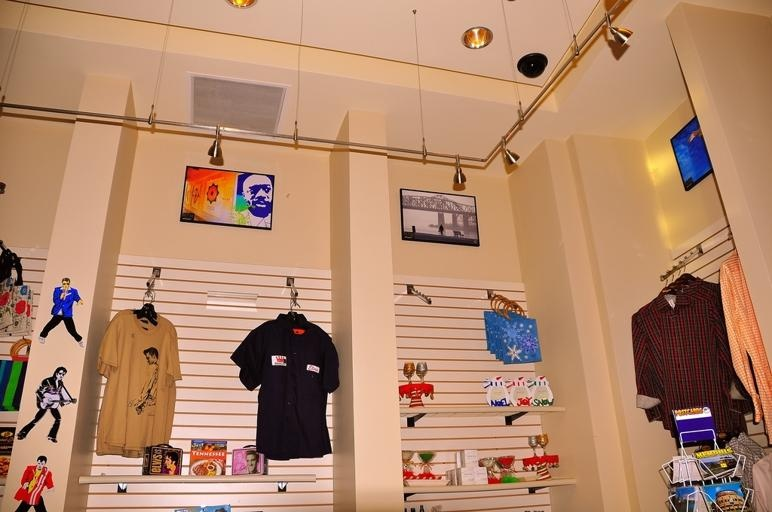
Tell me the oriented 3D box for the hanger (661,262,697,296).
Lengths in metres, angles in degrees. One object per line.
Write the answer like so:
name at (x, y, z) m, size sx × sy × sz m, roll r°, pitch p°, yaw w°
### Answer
hanger at (2.997, 0.264, 5.208) m, size 0.311 × 0.247 × 0.185 m, roll 0°, pitch -24°, yaw -1°

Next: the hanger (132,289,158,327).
hanger at (-2.634, 0.527, 5.551) m, size 0.253 × 0.489 × 0.320 m, roll 11°, pitch -26°, yaw -25°

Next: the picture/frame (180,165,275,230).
picture/frame at (-2.040, -0.717, 6.303) m, size 0.834 × 0.533 × 0.017 m, roll 4°, pitch -18°, yaw -14°

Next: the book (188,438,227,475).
book at (-1.868, 2.071, 5.240) m, size 0.404 × 0.408 × 0.042 m, roll 4°, pitch -39°, yaw -11°
